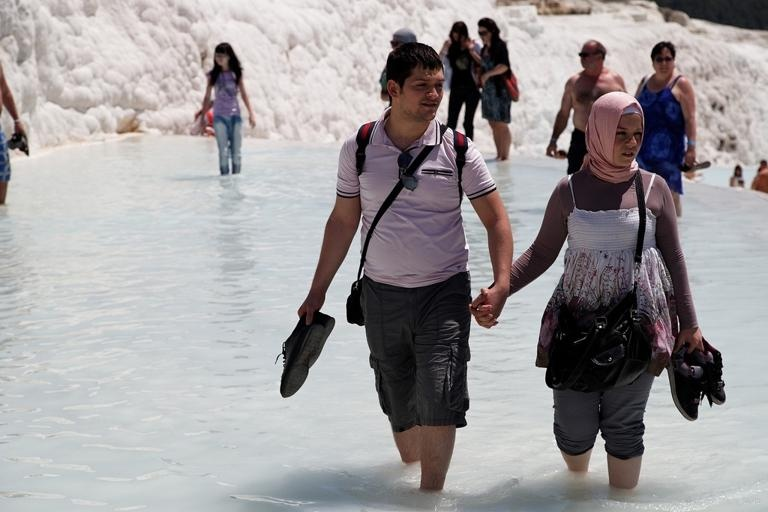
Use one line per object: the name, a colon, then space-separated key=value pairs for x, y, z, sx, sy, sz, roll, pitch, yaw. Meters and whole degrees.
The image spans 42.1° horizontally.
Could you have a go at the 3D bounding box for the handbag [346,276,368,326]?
handbag: x=-0.136 y=0.243 z=5.381 sx=0.147 sy=0.229 sz=0.168 roll=7 pitch=8 yaw=0

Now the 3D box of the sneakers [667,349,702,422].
sneakers: x=1.514 y=0.655 z=5.058 sx=0.143 sy=0.370 sz=0.168 roll=-14 pitch=-3 yaw=-12

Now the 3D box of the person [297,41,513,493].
person: x=0.164 y=0.059 z=5.221 sx=1.020 sy=2.282 sz=0.667 roll=8 pitch=19 yaw=33

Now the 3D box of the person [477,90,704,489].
person: x=1.157 y=0.192 z=5.085 sx=0.944 sy=2.000 sz=0.559 roll=3 pitch=16 yaw=16

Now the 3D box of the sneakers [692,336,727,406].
sneakers: x=1.665 y=0.583 z=5.061 sx=0.121 sy=0.342 sz=0.158 roll=-14 pitch=-10 yaw=6
